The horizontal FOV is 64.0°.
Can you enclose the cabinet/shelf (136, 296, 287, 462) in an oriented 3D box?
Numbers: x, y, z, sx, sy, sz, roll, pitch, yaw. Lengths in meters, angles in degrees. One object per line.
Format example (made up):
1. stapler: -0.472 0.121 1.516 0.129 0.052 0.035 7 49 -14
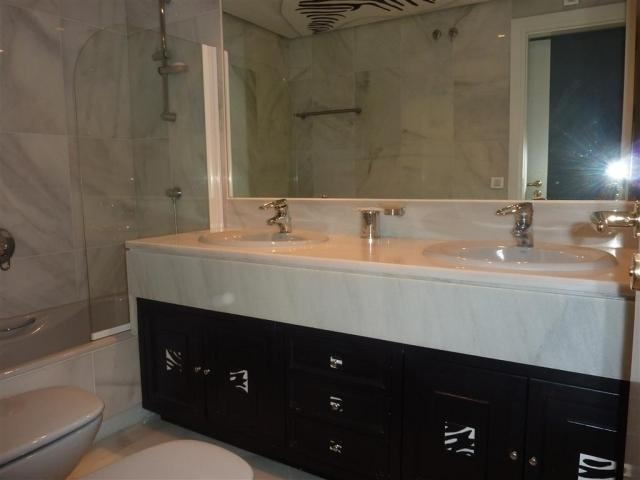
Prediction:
1. cabinet/shelf: -0.443 0.578 2.494 0.780 0.568 0.431 4 7 21
